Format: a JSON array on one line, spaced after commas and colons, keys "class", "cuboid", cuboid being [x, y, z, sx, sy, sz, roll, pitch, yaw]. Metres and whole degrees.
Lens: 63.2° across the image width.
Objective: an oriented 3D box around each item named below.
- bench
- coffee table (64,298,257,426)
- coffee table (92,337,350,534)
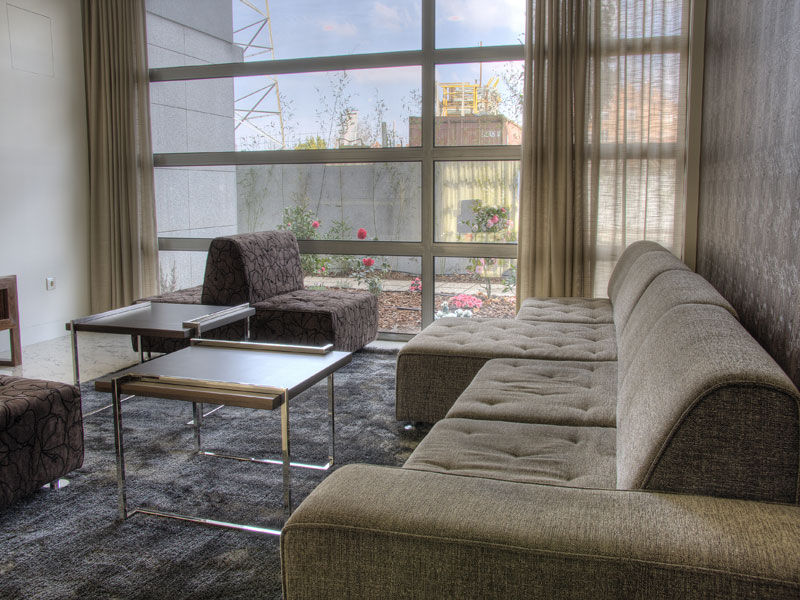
[{"class": "bench", "cuboid": [-1.021, -0.151, 4.718, 1.497, 0.861, 0.879, 1, 7, 18]}, {"class": "coffee table", "cuboid": [-1.328, 0.181, 3.808, 0.766, 0.623, 0.825, 5, 12, 19]}, {"class": "coffee table", "cuboid": [-0.758, 0.450, 2.805, 0.823, 0.605, 0.772, 4, 8, 10]}]
